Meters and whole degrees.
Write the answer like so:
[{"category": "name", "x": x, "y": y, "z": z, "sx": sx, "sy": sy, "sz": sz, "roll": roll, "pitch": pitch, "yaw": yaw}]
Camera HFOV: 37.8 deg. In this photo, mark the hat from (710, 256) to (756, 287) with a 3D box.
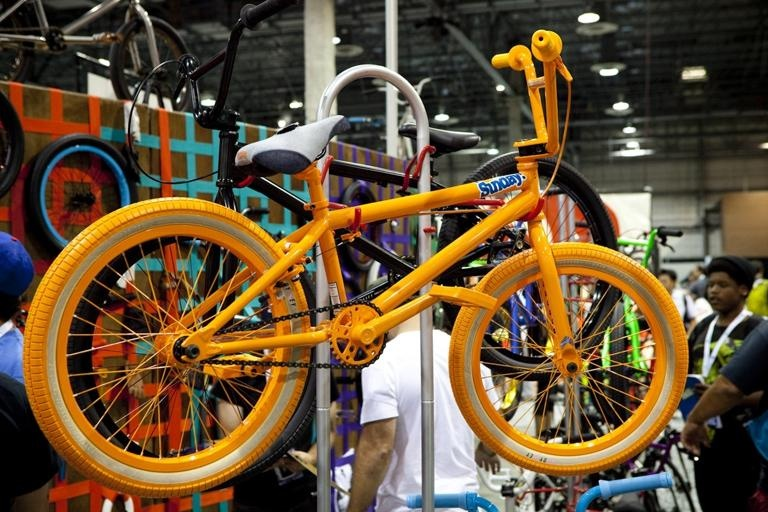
[{"category": "hat", "x": 3.173, "y": 0.127, "z": 10.187, "sx": 0.312, "sy": 0.187, "sz": 0.298, "roll": 17, "pitch": 2, "yaw": 13}]
